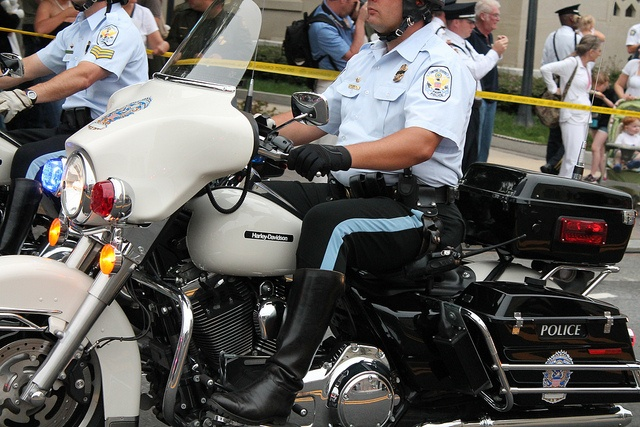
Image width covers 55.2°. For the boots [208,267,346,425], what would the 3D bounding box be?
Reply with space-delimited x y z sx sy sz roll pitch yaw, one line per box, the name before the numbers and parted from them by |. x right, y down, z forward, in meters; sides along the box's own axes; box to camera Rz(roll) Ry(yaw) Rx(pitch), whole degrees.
boots | -0.212 0.677 3.091 0.278 0.759 0.657 15 18 35

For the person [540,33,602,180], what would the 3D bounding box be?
person | 3.623 -1.379 8.905 0.819 2.332 0.797 6 16 25

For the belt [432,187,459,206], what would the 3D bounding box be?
belt | 0.755 -0.112 3.680 0.134 0.092 0.050 3 3 -14

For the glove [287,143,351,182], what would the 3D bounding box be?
glove | 0.001 -0.250 3.098 0.271 0.106 0.169 -13 49 -32
